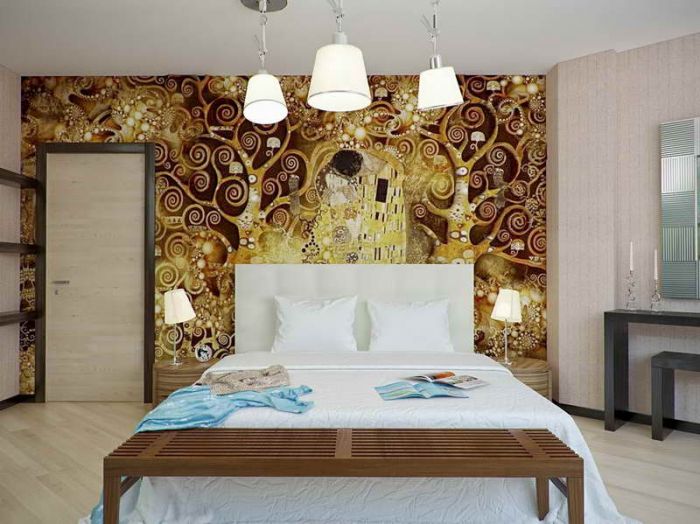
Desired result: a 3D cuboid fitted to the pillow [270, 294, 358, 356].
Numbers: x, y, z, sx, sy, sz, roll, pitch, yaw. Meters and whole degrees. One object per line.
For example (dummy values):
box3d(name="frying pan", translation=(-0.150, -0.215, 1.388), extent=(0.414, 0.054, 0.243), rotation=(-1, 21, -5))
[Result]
box3d(name="pillow", translation=(-0.324, 0.575, 4.963), extent=(0.782, 0.493, 0.281), rotation=(0, 6, -2))

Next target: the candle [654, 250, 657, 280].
box3d(name="candle", translation=(2.692, 0.028, 4.732), extent=(0.034, 0.266, 0.071), rotation=(-1, 2, 28))

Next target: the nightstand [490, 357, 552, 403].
box3d(name="nightstand", translation=(1.614, 0.995, 4.902), extent=(0.489, 0.318, 0.473), rotation=(1, 1, 5))
